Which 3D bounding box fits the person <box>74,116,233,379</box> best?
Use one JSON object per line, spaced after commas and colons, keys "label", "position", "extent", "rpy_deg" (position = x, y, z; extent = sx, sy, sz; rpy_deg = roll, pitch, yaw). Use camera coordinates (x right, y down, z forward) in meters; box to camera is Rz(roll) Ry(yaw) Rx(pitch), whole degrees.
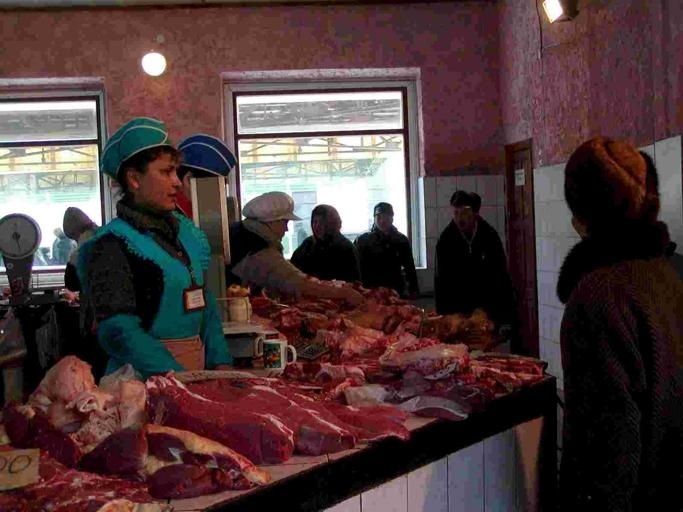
{"label": "person", "position": [-0.651, -0.020, 2.242], "extent": [0.584, 0.931, 0.444], "rpy_deg": [5, 9, -24]}

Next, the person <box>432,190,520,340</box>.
{"label": "person", "position": [0.990, 0.196, 4.605], "extent": [0.513, 1.386, 0.385], "rpy_deg": [1, 27, 18]}

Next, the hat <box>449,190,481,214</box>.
{"label": "hat", "position": [0.935, -0.412, 4.541], "extent": [0.199, 0.136, 0.225], "rpy_deg": [11, 9, 7]}

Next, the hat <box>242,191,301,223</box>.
{"label": "hat", "position": [-0.392, -0.269, 3.280], "extent": [0.229, 0.104, 0.175], "rpy_deg": [-1, 13, -7]}

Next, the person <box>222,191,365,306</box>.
{"label": "person", "position": [-0.348, -0.078, 3.437], "extent": [0.479, 0.572, 0.853], "rpy_deg": [-11, 38, -23]}

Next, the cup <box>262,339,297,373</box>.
{"label": "cup", "position": [-0.246, 0.406, 2.491], "extent": [0.147, 0.115, 0.096], "rpy_deg": [-1, -5, 14]}

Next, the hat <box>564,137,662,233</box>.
{"label": "hat", "position": [0.931, -0.251, 2.005], "extent": [0.237, 0.275, 0.323], "rpy_deg": [0, 12, 39]}

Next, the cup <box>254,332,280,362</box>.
{"label": "cup", "position": [-0.322, 0.396, 2.658], "extent": [0.113, 0.114, 0.094], "rpy_deg": [1, -2, -6]}

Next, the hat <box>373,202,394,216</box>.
{"label": "hat", "position": [0.367, -0.415, 5.332], "extent": [0.140, 0.111, 0.207], "rpy_deg": [-1, -15, 6]}
